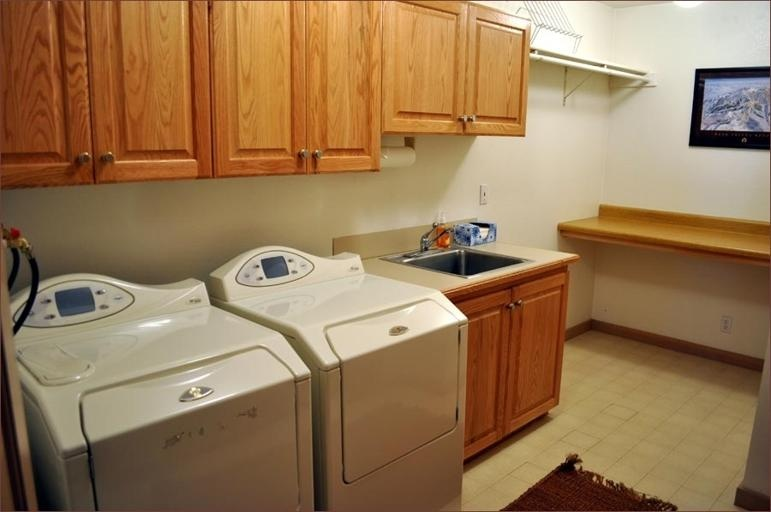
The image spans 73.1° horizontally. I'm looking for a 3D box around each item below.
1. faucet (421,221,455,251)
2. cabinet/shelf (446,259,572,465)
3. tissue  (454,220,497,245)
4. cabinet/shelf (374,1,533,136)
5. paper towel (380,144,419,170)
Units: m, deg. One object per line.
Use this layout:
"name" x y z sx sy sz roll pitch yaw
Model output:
"faucet" 0.339 -0.138 3.379 0.242 0.230 0.134 -8 17 -23
"cabinet/shelf" 0.704 0.609 3.009 0.403 0.901 1.060 7 13 41
"tissue " 0.611 -0.153 3.499 0.321 0.140 0.172 -7 16 -28
"cabinet/shelf" 0.433 -1.049 2.932 1.104 0.715 0.180 -13 19 -42
"paper towel" 0.072 -0.594 3.089 0.093 0.090 0.338 5 6 40
